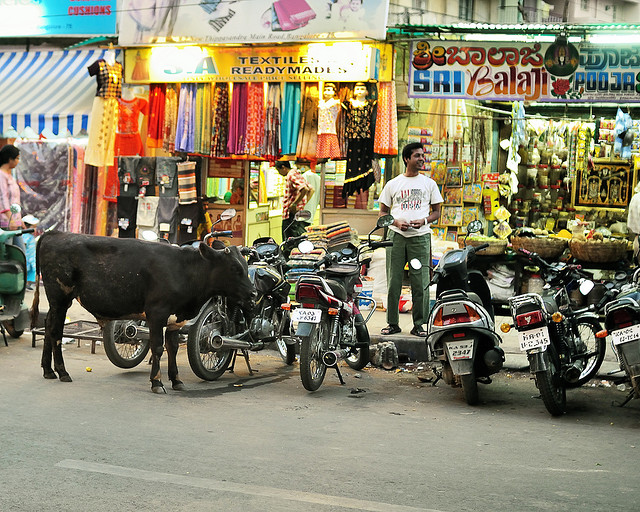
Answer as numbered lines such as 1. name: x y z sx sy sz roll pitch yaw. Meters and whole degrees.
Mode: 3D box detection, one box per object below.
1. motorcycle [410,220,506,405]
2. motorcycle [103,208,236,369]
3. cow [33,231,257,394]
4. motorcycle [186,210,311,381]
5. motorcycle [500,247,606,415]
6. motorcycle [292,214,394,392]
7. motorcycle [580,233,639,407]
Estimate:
1. motorcycle: 1.500 0.554 6.794 0.749 1.639 2.154 -13 1 15
2. motorcycle: -1.878 0.573 7.800 1.107 1.539 2.151 -8 -9 32
3. cow: -1.812 0.542 6.567 2.072 1.521 0.612 2 4 11
4. motorcycle: -0.824 0.448 7.246 0.953 1.752 2.144 0 -2 26
5. motorcycle: 2.433 0.710 6.649 0.750 1.504 2.297 -15 -5 29
6. motorcycle: 0.179 0.480 7.209 0.902 1.945 2.308 2 4 18
7. motorcycle: 2.986 0.767 6.670 0.514 1.295 1.904 3 4 23
